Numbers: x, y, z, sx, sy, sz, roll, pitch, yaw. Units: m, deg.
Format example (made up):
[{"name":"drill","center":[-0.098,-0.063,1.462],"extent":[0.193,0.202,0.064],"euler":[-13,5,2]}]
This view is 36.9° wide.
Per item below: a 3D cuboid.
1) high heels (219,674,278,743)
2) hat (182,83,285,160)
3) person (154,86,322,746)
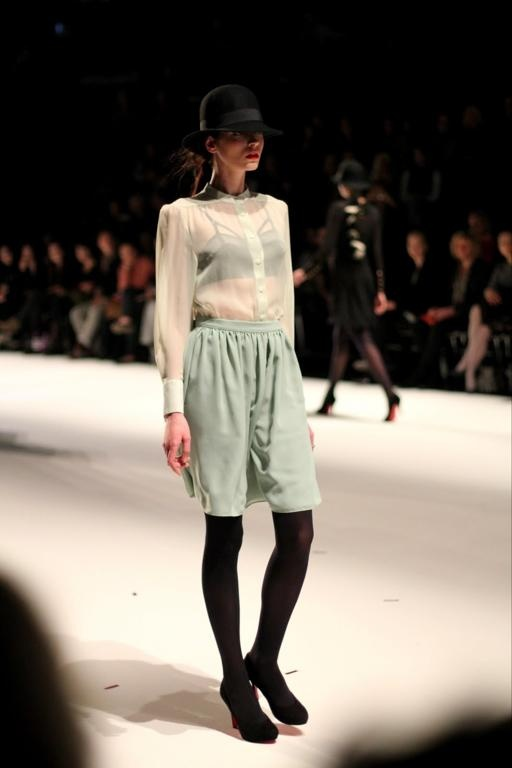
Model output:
[{"name":"high heels","center":[-0.022,0.547,1.339],"extent":[0.053,0.062,0.151],"euler":[-12,20,-23]},{"name":"hat","center":[-0.041,-0.482,1.353],"extent":[0.162,0.078,0.139],"euler":[-11,19,-31]},{"name":"person","center":[-0.036,0.039,1.373],"extent":[0.285,1.137,0.316],"euler":[0,7,-7]}]
